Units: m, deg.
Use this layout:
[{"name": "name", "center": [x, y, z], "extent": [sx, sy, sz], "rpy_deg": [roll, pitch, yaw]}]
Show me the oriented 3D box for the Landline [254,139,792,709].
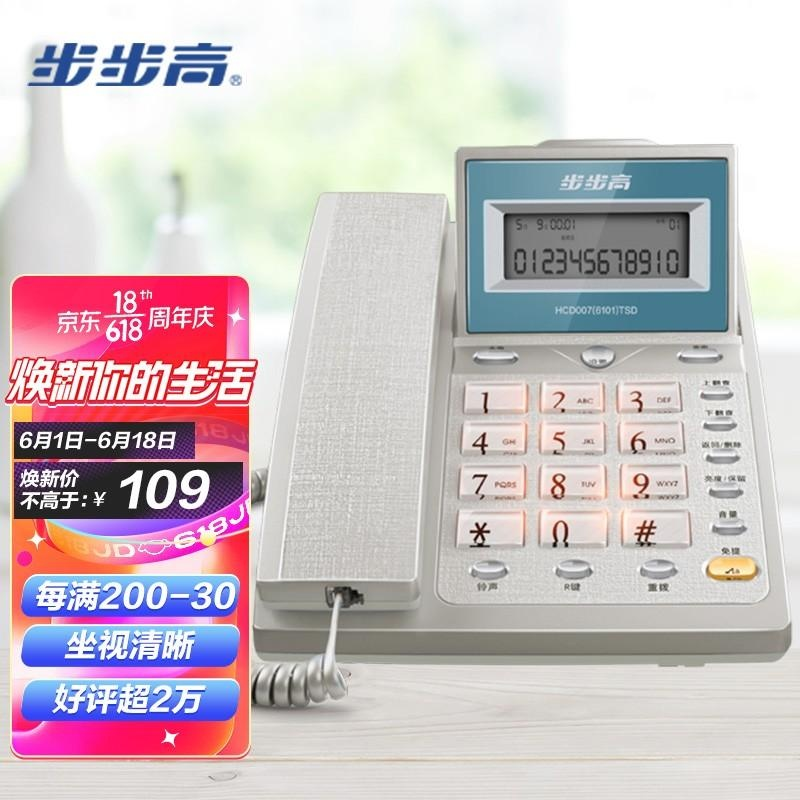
[{"name": "Landline", "center": [0.065, 0.001, 0.449], "extent": [0.324, 0.325, 0.127], "rpy_deg": [0, -29, 5]}]
